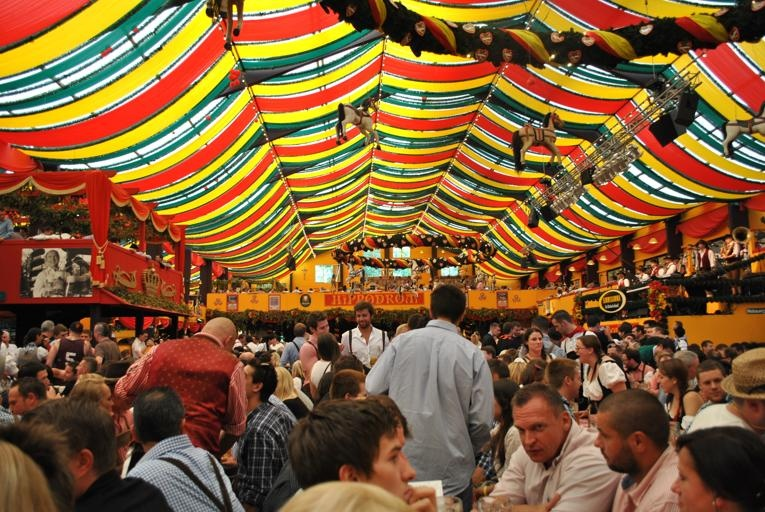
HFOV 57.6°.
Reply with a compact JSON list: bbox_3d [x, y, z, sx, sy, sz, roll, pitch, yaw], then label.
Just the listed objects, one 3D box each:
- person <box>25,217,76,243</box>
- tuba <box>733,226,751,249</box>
[{"bbox_3d":[-9.647,-0.797,20.279,0.865,0.486,1.208,4,7,42],"label":"person"},{"bbox_3d":[12.332,-0.627,23.879,0.654,0.776,0.739,-1,-8,3],"label":"tuba"}]
